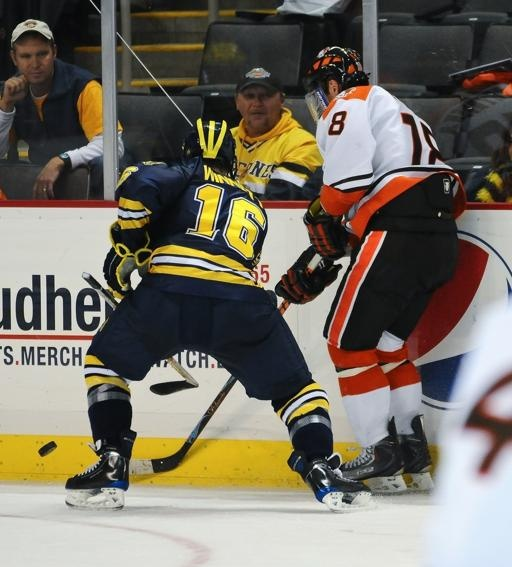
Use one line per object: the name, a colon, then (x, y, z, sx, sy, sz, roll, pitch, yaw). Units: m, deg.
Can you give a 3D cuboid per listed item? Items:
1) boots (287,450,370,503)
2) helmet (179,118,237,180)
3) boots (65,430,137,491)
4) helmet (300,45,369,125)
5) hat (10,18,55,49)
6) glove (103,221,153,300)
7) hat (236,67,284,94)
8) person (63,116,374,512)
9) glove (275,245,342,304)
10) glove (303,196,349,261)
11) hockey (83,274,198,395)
boots: (0.221, 0.616, 2.765, 0.284, 0.111, 0.083, 27, 12, -17)
helmet: (-0.168, -0.489, 3.091, 0.235, 0.184, 0.243, 3, -3, 7)
boots: (-0.514, 0.614, 2.849, 0.318, 0.200, 0.109, -18, -25, 39)
helmet: (0.326, -0.781, 3.235, 0.288, 0.219, 0.207, -12, 12, 28)
hat: (-0.955, -1.076, 3.609, 0.137, 0.065, 0.151, -4, 9, -5)
glove: (-0.468, -0.085, 2.955, 0.223, 0.232, 0.108, 16, -3, 46)
hat: (0.022, -0.860, 3.592, 0.126, 0.061, 0.142, 0, -14, 9)
person: (-0.109, 0.195, 2.854, 0.917, 1.224, 0.566, 10, 13, -7)
glove: (0.206, -0.027, 3.318, 0.288, 0.205, 0.124, -32, 46, -7)
glove: (0.265, -0.210, 3.156, 0.109, 0.208, 0.181, -21, 2, 3)
hockey: (-0.388, 0.184, 2.951, 0.188, 0.057, 0.651, -15, 28, -38)
